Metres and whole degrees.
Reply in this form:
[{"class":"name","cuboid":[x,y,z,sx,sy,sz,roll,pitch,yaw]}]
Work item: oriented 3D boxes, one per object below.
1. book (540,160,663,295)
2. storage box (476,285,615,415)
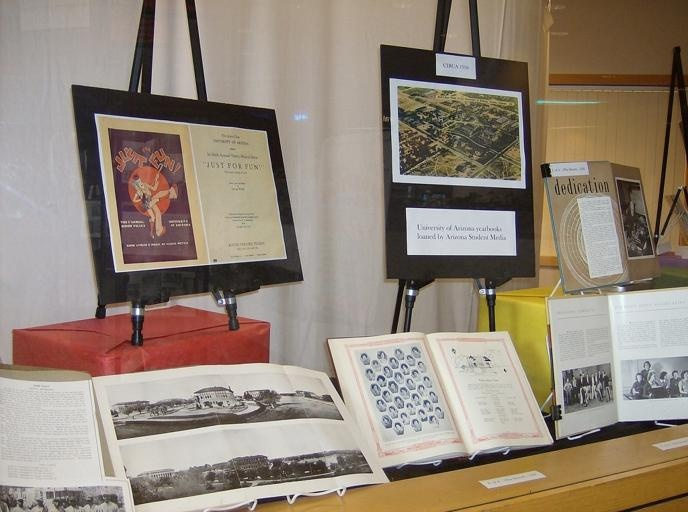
[{"class":"book","cuboid":[0.878,-0.106,1.899,0.498,0.410,0.023,-7,-1,-28]},{"class":"storage box","cuboid":[0.622,0.255,1.954,0.320,0.437,0.447,1,-2,-30]}]
